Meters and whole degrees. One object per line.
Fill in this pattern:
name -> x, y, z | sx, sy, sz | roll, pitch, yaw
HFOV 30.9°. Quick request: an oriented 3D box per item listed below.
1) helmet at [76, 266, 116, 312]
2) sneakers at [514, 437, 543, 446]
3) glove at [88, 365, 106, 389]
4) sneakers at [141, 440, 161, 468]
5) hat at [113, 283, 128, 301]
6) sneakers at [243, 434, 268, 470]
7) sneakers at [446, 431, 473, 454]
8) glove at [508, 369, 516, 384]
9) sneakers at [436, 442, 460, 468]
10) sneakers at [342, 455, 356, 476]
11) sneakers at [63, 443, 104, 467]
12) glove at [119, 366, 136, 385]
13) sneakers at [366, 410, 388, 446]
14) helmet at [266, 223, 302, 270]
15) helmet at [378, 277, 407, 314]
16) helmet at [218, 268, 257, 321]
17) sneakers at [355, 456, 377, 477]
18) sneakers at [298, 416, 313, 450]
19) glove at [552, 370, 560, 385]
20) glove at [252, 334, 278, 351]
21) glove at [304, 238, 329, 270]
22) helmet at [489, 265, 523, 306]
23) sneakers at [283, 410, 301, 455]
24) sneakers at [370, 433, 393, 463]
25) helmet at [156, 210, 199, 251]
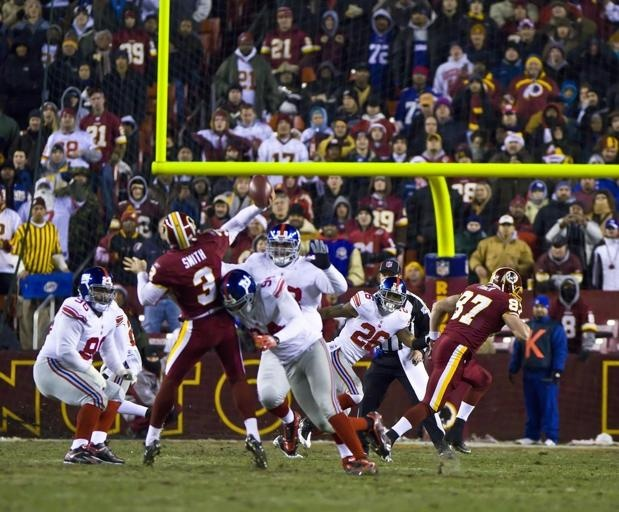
helmet -> -2.087, 0.324, 11.072 | 0.397, 0.449, 0.310 | 12, 3, 44
sneakers -> 2.553, 2.179, 13.153 | 0.294, 0.146, 0.106 | -4, -2, 13
glove -> -2.078, 1.197, 10.840 | 0.052, 0.214, 0.151 | -25, 0, 27
sneakers -> -1.515, 1.888, 10.734 | 0.143, 0.254, 0.199 | 2, -3, -17
hat -> -2.197, 0.427, 12.975 | 0.126, 0.191, 0.167 | 13, -13, 3
sneakers -> -0.498, 1.851, 10.589 | 0.195, 0.320, 0.319 | 2, -3, -1
sneakers -> 1.613, 2.042, 12.167 | 0.301, 0.234, 0.110 | 35, -11, 1
glove -> 2.376, 1.425, 13.235 | 0.101, 0.142, 0.124 | -3, 29, 5
sneakers -> 1.429, 2.121, 11.663 | 0.117, 0.382, 0.166 | -22, -16, 5
sneakers -> 0.365, 1.889, 10.124 | 0.187, 0.181, 0.072 | 0, -3, 31
sneakers -> -2.180, 1.925, 10.807 | 0.355, 0.186, 0.152 | 1, 0, 7
glove -> -1.811, 1.187, 11.186 | 0.164, 0.141, 0.228 | 4, -8, -6
sneakers -> 0.655, 1.684, 10.912 | 0.116, 0.380, 0.155 | -4, 6, 21
helmet -> -0.248, -0.111, 11.017 | 0.270, 0.361, 0.399 | 0, -1, 6
helmet -> 0.819, 0.388, 11.319 | 0.238, 0.309, 0.344 | 15, 6, -2
helmet -> -0.663, 0.343, 10.385 | 0.284, 0.439, 0.260 | 0, -3, 37
sneakers -> 0.491, 1.909, 10.147 | 0.229, 0.189, 0.086 | -2, 2, -2
sneakers -> -0.044, 1.853, 11.805 | 0.151, 0.377, 0.124 | -10, 7, -28
glove -> 2.843, 1.407, 12.952 | 0.044, 0.137, 0.089 | -1, 3, -35
glove -> -0.391, 0.774, 9.965 | 0.169, 0.149, 0.084 | -1, -21, -18
glove -> 0.091, -0.015, 10.796 | 0.190, 0.312, 0.501 | 2, -3, -1
helmet -> 2.000, 0.312, 11.682 | 0.336, 0.379, 0.278 | 2, 4, -11
sneakers -> -0.179, 1.823, 11.505 | 0.129, 0.441, 0.173 | -2, 6, 41
sneakers -> 0.700, 1.914, 11.092 | 0.208, 0.343, 0.125 | -11, 5, -10
helmet -> -1.280, -0.253, 10.863 | 0.301, 0.428, 0.327 | -16, 16, -6
